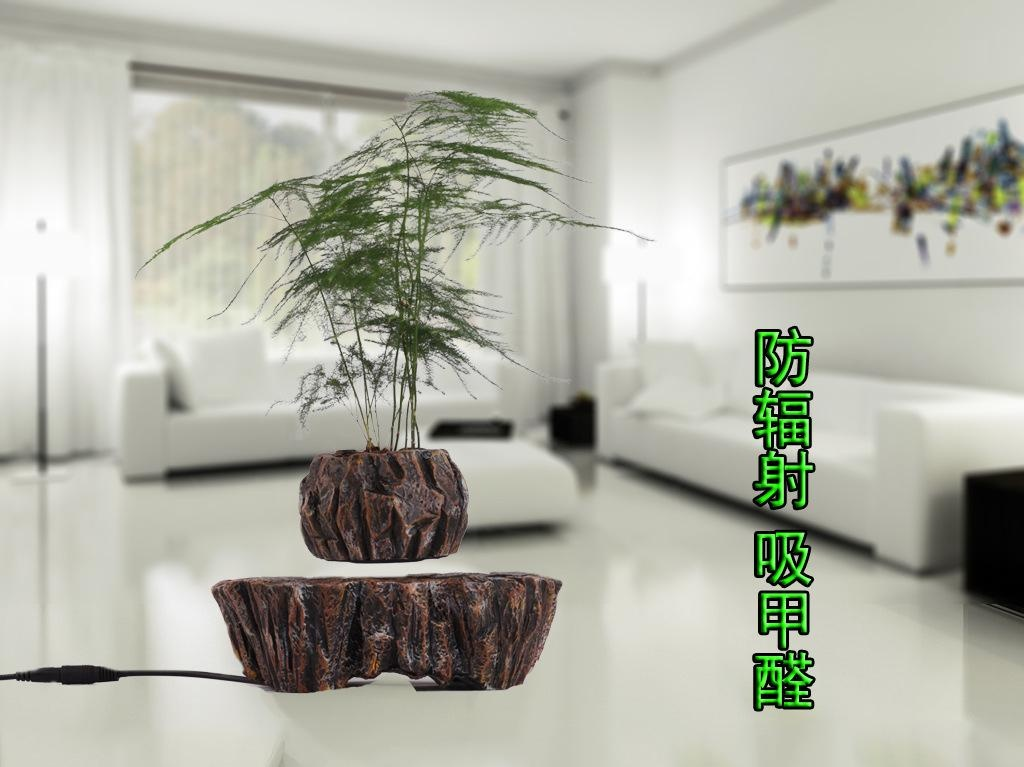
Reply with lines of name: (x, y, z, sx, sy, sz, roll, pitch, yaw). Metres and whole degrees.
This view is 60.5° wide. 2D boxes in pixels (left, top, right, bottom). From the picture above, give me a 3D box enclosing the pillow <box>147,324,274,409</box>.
pillow: (-1.126, -0.062, 3.316, 0.345, 0.355, 0.104, -1, 13, -5)
